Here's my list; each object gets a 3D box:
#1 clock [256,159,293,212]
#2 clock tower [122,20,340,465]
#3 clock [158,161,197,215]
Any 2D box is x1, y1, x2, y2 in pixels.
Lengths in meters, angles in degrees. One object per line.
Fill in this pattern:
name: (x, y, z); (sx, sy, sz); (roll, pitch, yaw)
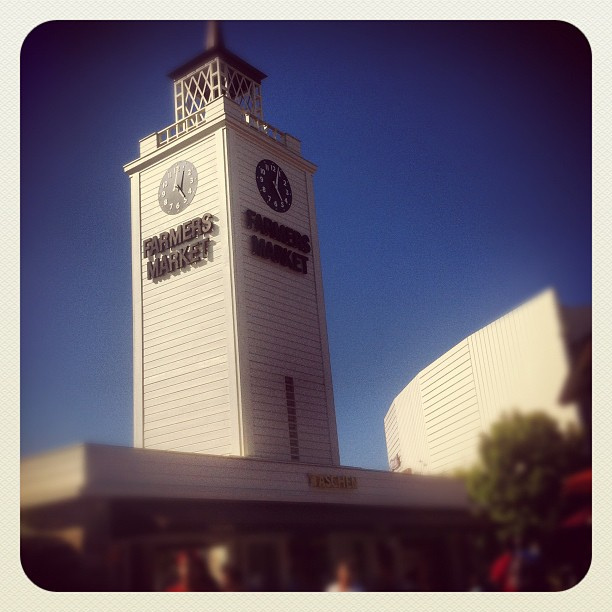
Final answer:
clock: (-1.173, -4.164, 27.446); (0.112, 1.808, 1.745); (-14, -78, 25)
clock tower: (-2.773, -0.654, 26.409); (5.908, 12.717, 7.073); (-26, -47, 25)
clock: (-4.370, -4.035, 26.765); (1.973, 1.871, 0.190); (-17, -21, 38)
